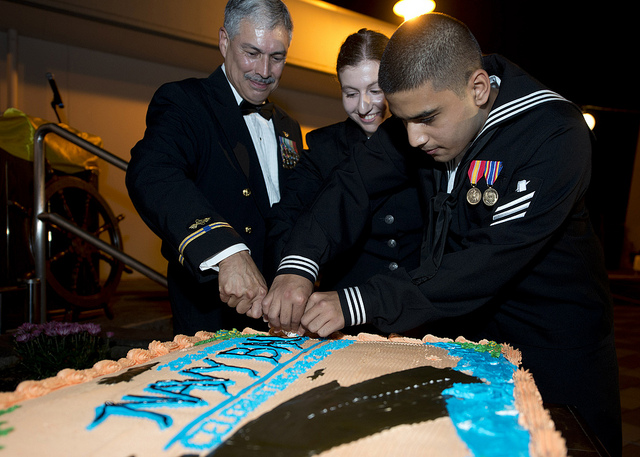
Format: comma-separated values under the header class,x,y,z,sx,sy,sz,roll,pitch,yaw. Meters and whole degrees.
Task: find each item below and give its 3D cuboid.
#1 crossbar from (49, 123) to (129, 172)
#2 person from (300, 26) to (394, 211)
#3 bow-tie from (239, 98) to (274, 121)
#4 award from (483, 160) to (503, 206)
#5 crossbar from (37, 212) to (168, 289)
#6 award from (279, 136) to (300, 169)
class,x,y,z,sx,sy,sz,roll,pitch,yaw
crossbar,-1.606,-0.563,3.488,0.082,0.101,0.863,26,-5,19
person,0.178,-0.652,3.114,0.698,1.012,0.349,6,-8,11
bow-tie,-0.380,-0.713,3.114,0.291,0.127,0.094,-13,16,-40
award,0.819,-0.214,2.468,0.082,0.209,0.079,3,13,19
crossbar,-2.054,0.214,4.810,1.457,0.211,0.208,32,46,3
award,-0.194,-0.473,3.233,0.166,0.197,0.119,-10,15,-34
